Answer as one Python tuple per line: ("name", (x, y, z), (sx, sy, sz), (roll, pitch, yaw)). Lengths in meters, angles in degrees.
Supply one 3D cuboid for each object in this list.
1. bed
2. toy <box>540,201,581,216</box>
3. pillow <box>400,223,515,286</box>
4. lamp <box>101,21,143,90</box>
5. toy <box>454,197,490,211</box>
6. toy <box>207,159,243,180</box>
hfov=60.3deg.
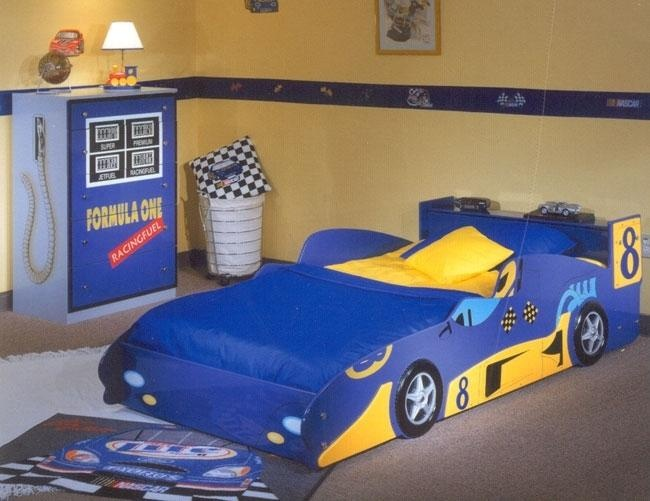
("bed", (0.291, 0.302, 2.067), (1.370, 0.486, 0.815), (-11, 15, -38))
("toy", (0.589, -0.107, 1.389), (0.058, 0.019, 0.034), (9, 17, 38))
("pillow", (0.434, 0.037, 1.826), (0.183, 0.063, 0.198), (-28, 27, -21))
("lamp", (-1.475, -1.400, 4.035), (0.260, 0.512, 0.412), (-4, 10, -21))
("toy", (0.451, -0.139, 1.701), (0.032, 0.044, 0.179), (-2, 10, -13))
("toy", (-0.759, -0.591, 4.192), (0.150, 0.081, 0.233), (-24, 17, -23))
